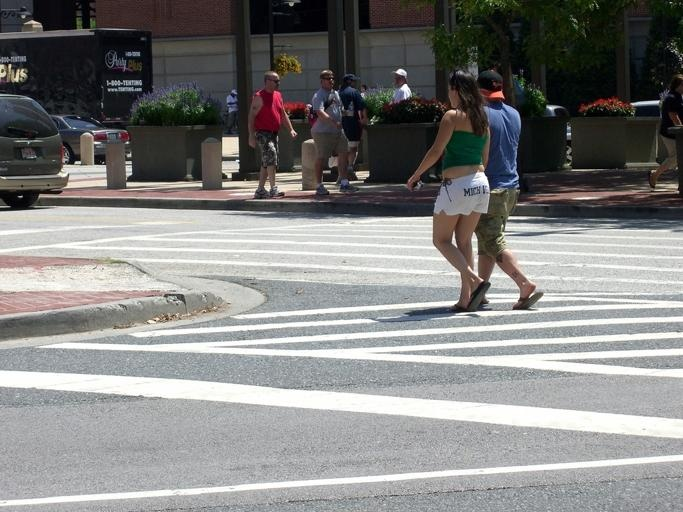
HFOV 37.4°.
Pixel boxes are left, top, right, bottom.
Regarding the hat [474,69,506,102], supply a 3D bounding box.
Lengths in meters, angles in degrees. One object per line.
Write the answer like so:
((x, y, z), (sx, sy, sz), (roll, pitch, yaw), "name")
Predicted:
((1.341, -1.564, 9.111), (0.206, 0.174, 0.291), (-11, 52, -10), "hat")

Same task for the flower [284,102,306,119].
((-1.278, -4.094, 28.655), (0.547, 0.380, 0.544), (-2, 11, -9), "flower")

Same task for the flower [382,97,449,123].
((1.612, -3.151, 22.196), (1.001, 0.528, 0.862), (-5, 12, 15), "flower")

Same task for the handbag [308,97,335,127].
((-0.437, -2.833, 19.838), (0.514, 0.482, 0.354), (6, 10, 18), "handbag")

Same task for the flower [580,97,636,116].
((6.902, -3.839, 26.162), (1.273, 0.502, 0.967), (2, 8, 17), "flower")

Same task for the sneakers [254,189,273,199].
((-1.479, -1.178, 19.245), (0.390, 0.132, 0.179), (2, -29, 4), "sneakers")

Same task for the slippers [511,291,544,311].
((1.696, 0.406, 9.089), (0.339, 0.090, 0.124), (-37, -5, 34), "slippers")

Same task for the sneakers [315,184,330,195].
((-0.320, -1.282, 19.630), (0.312, 0.207, 0.149), (-3, 19, -12), "sneakers")

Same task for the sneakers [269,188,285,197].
((-1.226, -1.210, 19.369), (0.121, 0.161, 0.365), (10, 14, 44), "sneakers")

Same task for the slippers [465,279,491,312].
((1.198, 0.367, 9.043), (0.135, 0.359, 0.095), (2, 28, -45), "slippers")

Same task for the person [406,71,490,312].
((0.995, -0.532, 8.828), (0.550, 2.141, 0.776), (3, 8, 24), "person")

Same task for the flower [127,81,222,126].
((-4.018, -3.595, 24.588), (1.555, 0.886, 1.407), (-1, 10, 14), "flower")

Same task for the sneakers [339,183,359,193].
((0.156, -1.340, 19.990), (0.309, 0.141, 0.153), (-1, 18, -2), "sneakers")

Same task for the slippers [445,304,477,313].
((1.106, 0.474, 9.133), (0.234, 0.059, 0.091), (2, 5, 27), "slippers")
